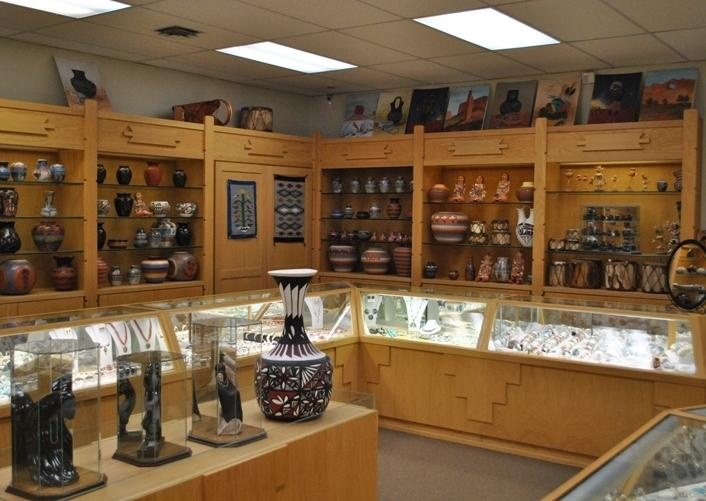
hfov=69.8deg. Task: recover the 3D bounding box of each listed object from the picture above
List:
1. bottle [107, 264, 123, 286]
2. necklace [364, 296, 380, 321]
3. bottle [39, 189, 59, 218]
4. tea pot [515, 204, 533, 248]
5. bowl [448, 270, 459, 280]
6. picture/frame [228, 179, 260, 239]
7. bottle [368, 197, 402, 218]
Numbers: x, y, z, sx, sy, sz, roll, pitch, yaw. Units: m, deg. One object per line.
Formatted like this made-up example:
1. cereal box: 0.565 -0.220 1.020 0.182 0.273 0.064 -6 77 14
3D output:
1. bottle: -2.507 0.266 5.342 0.192 0.208 0.184 -3 6 -34
2. necklace: 0.168 0.529 4.657 0.174 0.200 0.053 4 2 18
3. bottle: -3.026 -0.461 5.040 0.138 0.259 0.381 -3 5 -28
4. tea pot: 2.016 -0.276 5.950 0.219 0.470 0.169 3 6 34
5. bowl: 1.252 0.306 6.290 0.106 0.077 0.106 0 -5 0
6. picture/frame: -1.351 -0.495 6.143 0.406 0.711 0.023 -5 7 -43
7. bottle: 0.415 -0.574 6.844 0.465 0.246 0.238 4 3 36
